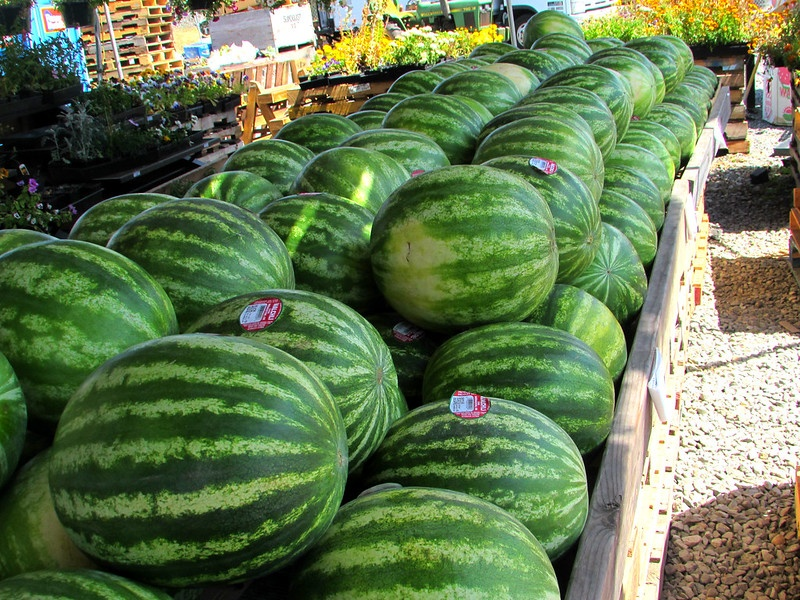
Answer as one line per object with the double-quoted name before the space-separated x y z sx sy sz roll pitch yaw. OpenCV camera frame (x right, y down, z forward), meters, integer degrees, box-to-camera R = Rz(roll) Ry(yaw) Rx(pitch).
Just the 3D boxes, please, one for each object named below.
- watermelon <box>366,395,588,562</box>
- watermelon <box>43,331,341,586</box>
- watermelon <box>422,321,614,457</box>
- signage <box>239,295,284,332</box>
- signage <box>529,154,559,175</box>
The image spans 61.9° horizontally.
"watermelon" 0.212 0.355 1.731 0.471 0.396 0.361 2 22 17
"watermelon" -0.369 0.369 1.462 0.515 0.424 0.440 -2 65 8
"watermelon" 0.346 0.203 1.973 0.435 0.368 0.346 -2 13 -7
"signage" -0.343 0.037 1.647 0.108 0.055 0.075 -3 21 -4
"signage" 0.496 -0.462 2.293 0.085 0.058 0.026 17 0 -2
